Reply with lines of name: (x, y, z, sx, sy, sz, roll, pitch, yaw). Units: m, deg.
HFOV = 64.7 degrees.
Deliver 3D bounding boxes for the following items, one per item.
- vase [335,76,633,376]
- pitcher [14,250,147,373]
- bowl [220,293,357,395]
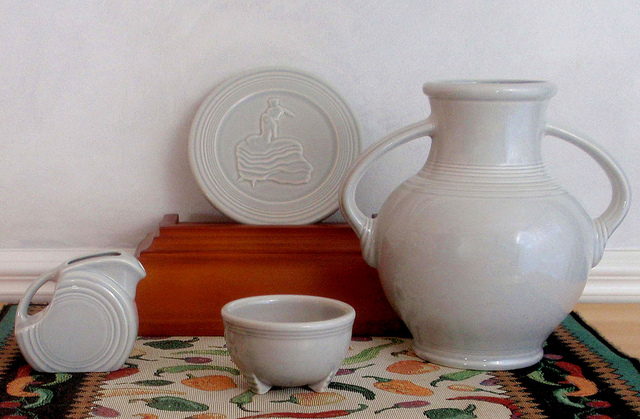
vase: (0.279, 0.029, 0.933, 0.589, 0.545, 0.409, 1, 3, 1)
pitcher: (-0.385, 0.179, 0.948, 0.215, 0.183, 0.280, -4, 9, -12)
bowl: (-0.053, 0.222, 0.823, 0.171, 0.144, 0.161, 2, 18, -1)
